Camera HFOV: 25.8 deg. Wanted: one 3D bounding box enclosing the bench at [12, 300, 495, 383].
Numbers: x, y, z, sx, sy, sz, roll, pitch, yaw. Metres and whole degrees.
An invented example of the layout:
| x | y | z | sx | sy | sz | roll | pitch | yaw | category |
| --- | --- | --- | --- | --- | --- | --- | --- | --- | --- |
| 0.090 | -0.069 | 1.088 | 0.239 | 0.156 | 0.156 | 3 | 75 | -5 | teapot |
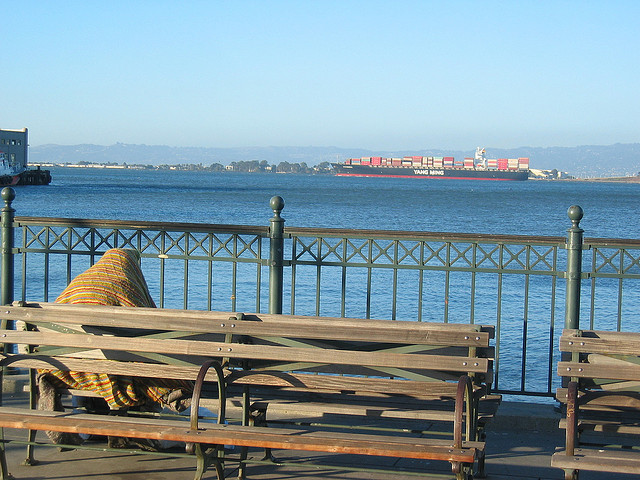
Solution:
| x | y | z | sx | sy | sz | roll | pitch | yaw | category |
| --- | --- | --- | --- | --- | --- | --- | --- | --- | --- |
| -0.671 | 0.809 | 10.731 | 3.814 | 0.505 | 0.519 | 3 | -17 | 6 | bench |

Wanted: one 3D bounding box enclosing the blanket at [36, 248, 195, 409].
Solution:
| x | y | z | sx | sy | sz | roll | pitch | yaw | category |
| --- | --- | --- | --- | --- | --- | --- | --- | --- | --- |
| -1.544 | 0.799 | 11.425 | 1.230 | 1.427 | 1.371 | -4 | -1 | -31 | blanket |
